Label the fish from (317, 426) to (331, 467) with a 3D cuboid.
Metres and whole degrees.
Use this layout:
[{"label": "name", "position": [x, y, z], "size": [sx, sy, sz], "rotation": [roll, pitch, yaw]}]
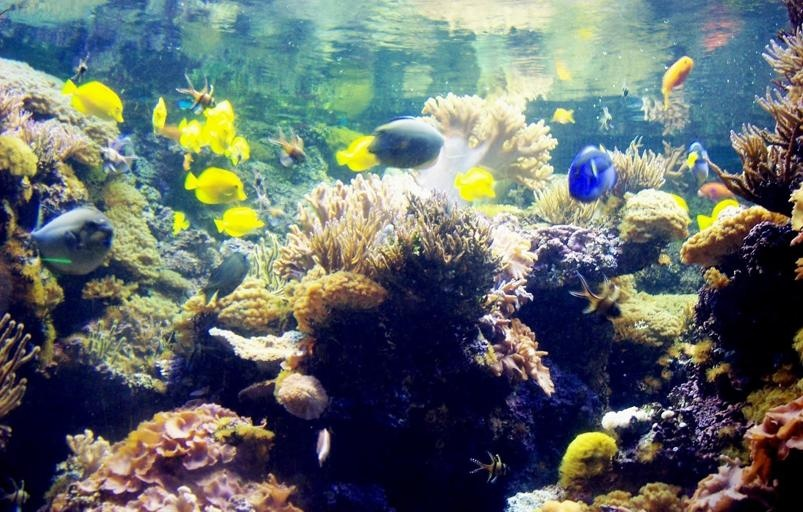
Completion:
[{"label": "fish", "position": [-1.648, 4.116, 16.157], "size": [0.277, 0.831, 0.345], "rotation": [-1, 17, -13]}]
